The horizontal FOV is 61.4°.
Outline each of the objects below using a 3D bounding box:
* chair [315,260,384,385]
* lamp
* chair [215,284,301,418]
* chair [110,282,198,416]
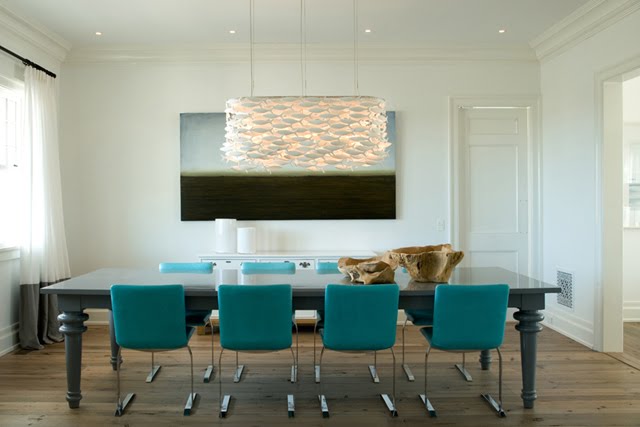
[{"bbox_3d":[0.352,1.287,5.871,0.886,1.140,0.953,1,2,-14],"label":"chair"},{"bbox_3d":[-0.254,-1.612,6.605,2.419,2.752,0.848,0,-3,0],"label":"lamp"},{"bbox_3d":[-0.674,1.375,5.689,0.820,1.381,0.634,-2,4,-4],"label":"chair"},{"bbox_3d":[-1.731,1.375,5.597,0.842,1.362,0.455,-2,4,-11],"label":"chair"}]
